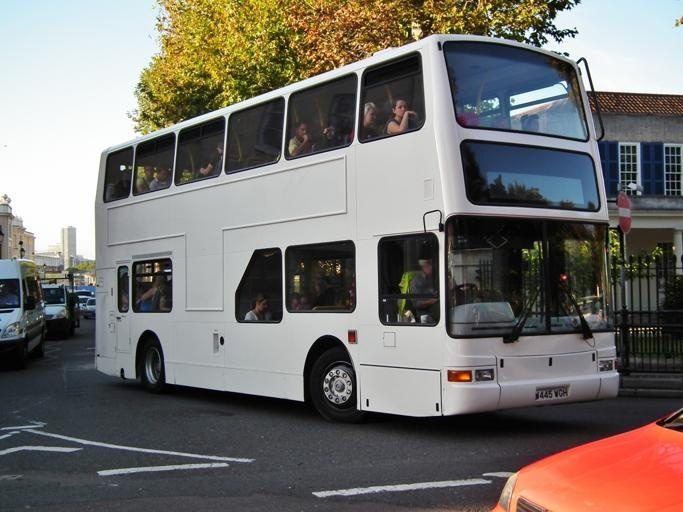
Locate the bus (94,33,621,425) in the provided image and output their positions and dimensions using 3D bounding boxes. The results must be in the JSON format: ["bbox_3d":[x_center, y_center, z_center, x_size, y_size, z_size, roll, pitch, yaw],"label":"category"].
[{"bbox_3d":[-1.063,-0.145,12.630,3.880,5.630,11.013,3,-5,-44],"label":"bus"}]

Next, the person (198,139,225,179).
[{"bbox_3d":[-2.593,-1.919,12.125,0.737,0.468,1.331,1,1,-11],"label":"person"}]

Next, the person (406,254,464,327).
[{"bbox_3d":[1.113,0.453,8.249,0.142,0.919,0.646,-4,-1,-28],"label":"person"}]

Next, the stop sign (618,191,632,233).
[{"bbox_3d":[6.030,-0.946,12.861,0.257,0.008,1.101,14,-38,40],"label":"stop sign"}]
